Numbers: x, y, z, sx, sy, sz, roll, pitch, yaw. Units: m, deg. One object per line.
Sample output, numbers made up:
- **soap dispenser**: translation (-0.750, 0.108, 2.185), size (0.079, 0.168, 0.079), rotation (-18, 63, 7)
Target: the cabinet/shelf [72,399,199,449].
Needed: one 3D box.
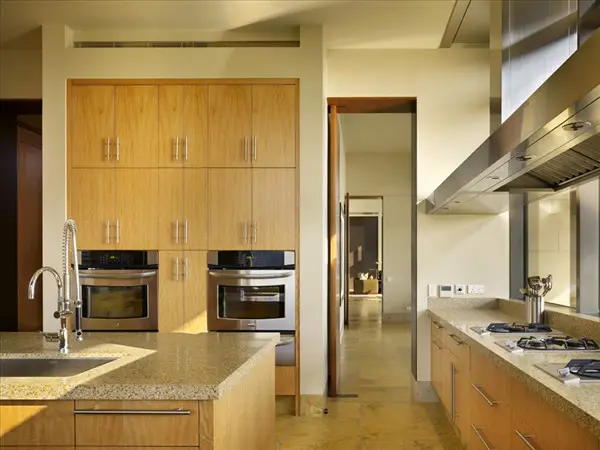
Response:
- **cabinet/shelf**: translation (-0.856, 1.063, 2.902), size (0.447, 0.230, 0.302), rotation (1, -18, -2)

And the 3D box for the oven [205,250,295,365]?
- **oven**: translation (-0.449, 0.906, 5.211), size (0.826, 1.118, 0.782), rotation (-2, -34, -3)

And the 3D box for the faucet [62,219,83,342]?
- **faucet**: translation (-1.545, 0.393, 3.867), size (0.132, 0.980, 0.304), rotation (-3, -5, -12)

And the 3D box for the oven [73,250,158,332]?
- **oven**: translation (-1.655, 0.427, 5.227), size (0.693, 0.954, 0.648), rotation (1, 33, -14)

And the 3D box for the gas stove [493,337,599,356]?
- **gas stove**: translation (1.616, 0.778, 3.684), size (0.626, 0.109, 0.287), rotation (2, -10, 4)
